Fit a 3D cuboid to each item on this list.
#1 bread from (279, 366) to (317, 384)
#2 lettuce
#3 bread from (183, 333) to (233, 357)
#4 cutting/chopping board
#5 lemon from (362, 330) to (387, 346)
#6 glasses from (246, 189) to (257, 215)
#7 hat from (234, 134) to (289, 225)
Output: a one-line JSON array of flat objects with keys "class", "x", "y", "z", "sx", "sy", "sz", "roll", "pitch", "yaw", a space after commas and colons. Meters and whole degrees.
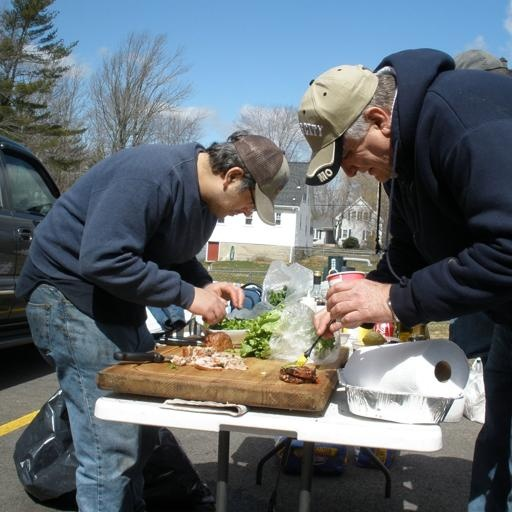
[{"class": "bread", "x": 0.156, "y": 0.421, "z": 1.540, "sx": 0.088, "sy": 0.031, "sz": 0.064, "roll": 3, "pitch": -1, "yaw": -9}, {"class": "lettuce", "x": -0.082, "y": 0.370, "z": 2.328, "sx": 0.418, "sy": 0.215, "sz": 0.369, "roll": -1, "pitch": 9, "yaw": -5}, {"class": "bread", "x": -0.230, "y": 0.438, "z": 2.156, "sx": 0.154, "sy": 0.071, "sz": 0.117, "roll": -3, "pitch": 5, "yaw": 1}, {"class": "cutting/chopping board", "x": -0.057, "y": 0.391, "z": 1.697, "sx": 0.862, "sy": 0.158, "sz": 0.644, "roll": 4, "pitch": 5, "yaw": 18}, {"class": "lemon", "x": 0.702, "y": 0.484, "z": 2.536, "sx": 0.157, "sy": 0.106, "sz": 0.158, "roll": 0, "pitch": -10, "yaw": 5}, {"class": "glasses", "x": -0.024, "y": -0.282, "z": 2.243, "sx": 0.037, "sy": 0.103, "sz": 0.074, "roll": 11, "pitch": -4, "yaw": 9}, {"class": "hat", "x": 0.053, "y": -0.425, "z": 2.239, "sx": 0.240, "sy": 0.445, "sz": 0.283, "roll": -31, "pitch": 1, "yaw": 19}]
